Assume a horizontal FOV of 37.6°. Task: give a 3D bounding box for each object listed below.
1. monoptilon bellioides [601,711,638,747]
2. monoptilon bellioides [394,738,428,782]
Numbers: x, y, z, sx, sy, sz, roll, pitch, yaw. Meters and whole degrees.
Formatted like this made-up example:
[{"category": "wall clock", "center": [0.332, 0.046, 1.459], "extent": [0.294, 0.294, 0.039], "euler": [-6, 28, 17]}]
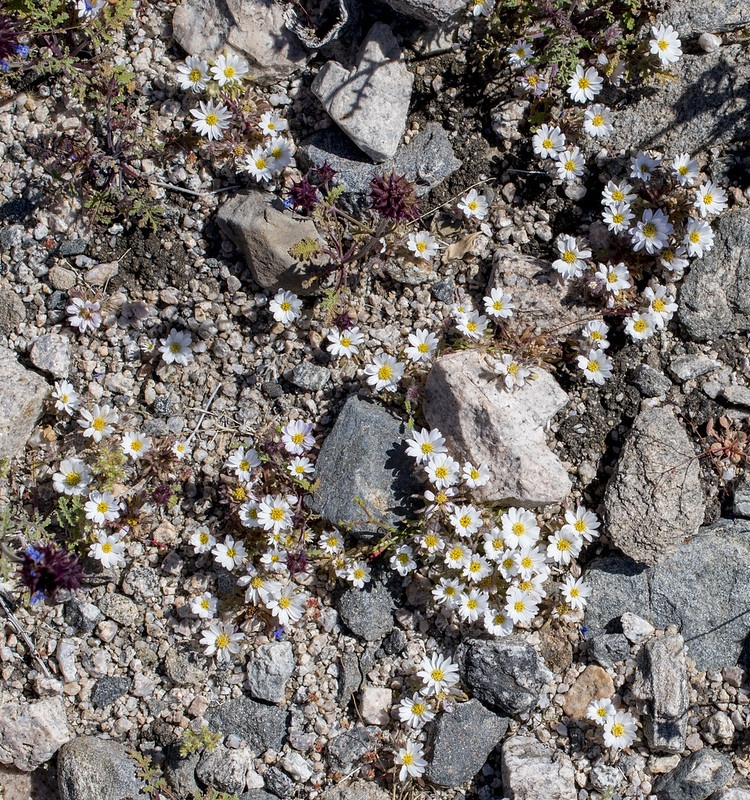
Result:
[{"category": "monoptilon bellioides", "center": [1.407, 1.903, 6.317], "extent": [0.217, 0.146, 0.194], "euler": [-6, 73, -6]}, {"category": "monoptilon bellioides", "center": [0.207, 2.056, 6.291], "extent": [0.172, 0.071, 0.236], "euler": [1, 80, -19]}]
